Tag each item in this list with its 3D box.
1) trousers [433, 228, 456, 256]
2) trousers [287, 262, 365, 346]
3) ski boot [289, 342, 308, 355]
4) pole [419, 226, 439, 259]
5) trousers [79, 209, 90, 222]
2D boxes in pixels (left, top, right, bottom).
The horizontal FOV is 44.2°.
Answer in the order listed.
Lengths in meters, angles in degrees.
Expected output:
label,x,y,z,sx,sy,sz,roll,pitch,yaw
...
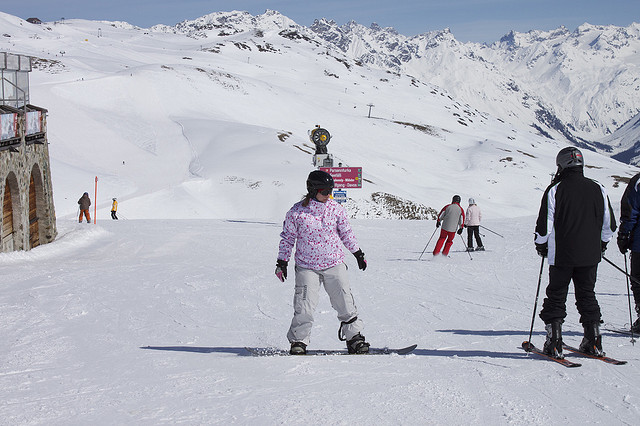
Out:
label,x,y,z,sx,sy,sz,roll,pitch,yaw
trousers,4.241,0.992,27.089,0.747,0.965,0.448,1,14,7
trousers,0.040,2.002,17.548,1.588,1.779,0.441,-1,14,-3
ski boot,-0.502,2.998,17.494,0.257,0.224,0.309,2,-2,5
pole,4.227,1.137,30.808,0.131,1.237,0.153,34,9,39
trousers,-11.837,0.094,39.496,0.680,0.635,0.245,2,12,7
